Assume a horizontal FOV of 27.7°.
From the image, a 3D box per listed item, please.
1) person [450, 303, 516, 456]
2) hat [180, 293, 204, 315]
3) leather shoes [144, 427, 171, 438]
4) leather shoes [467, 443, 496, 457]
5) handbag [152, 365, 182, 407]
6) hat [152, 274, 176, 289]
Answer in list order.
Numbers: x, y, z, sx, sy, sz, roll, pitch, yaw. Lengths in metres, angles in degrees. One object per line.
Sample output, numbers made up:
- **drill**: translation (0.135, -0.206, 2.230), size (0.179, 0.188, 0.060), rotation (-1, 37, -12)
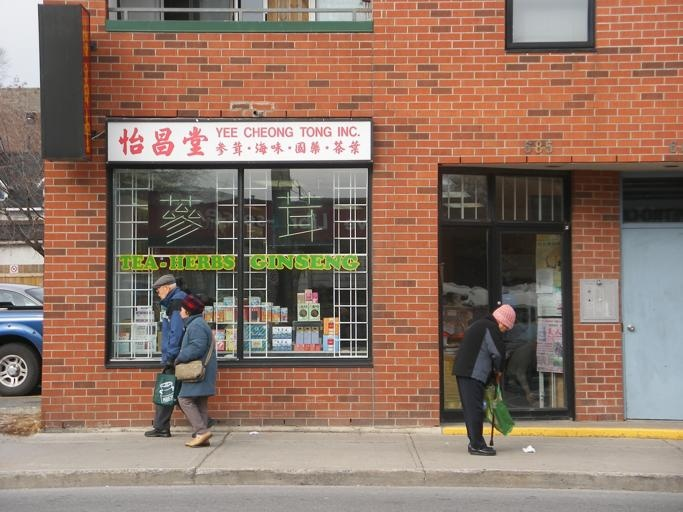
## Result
- **person**: translation (2.183, 1.913, 21.306), size (0.899, 2.302, 0.294), rotation (0, -1, 4)
- **hat**: translation (-2.399, 0.759, 21.933), size (0.378, 0.259, 0.265), rotation (18, 0, -9)
- **leather shoes**: translation (-2.934, 2.829, 22.182), size (0.397, 0.141, 0.145), rotation (4, -3, -2)
- **leather shoes**: translation (2.164, 2.986, 21.268), size (0.330, 0.112, 0.183), rotation (-1, 2, 1)
- **handbag**: translation (-2.744, 2.072, 21.901), size (0.437, 0.629, 0.265), rotation (0, -1, -2)
- **hat**: translation (-2.832, 0.390, 22.203), size (0.314, 0.137, 0.223), rotation (0, -3, -5)
